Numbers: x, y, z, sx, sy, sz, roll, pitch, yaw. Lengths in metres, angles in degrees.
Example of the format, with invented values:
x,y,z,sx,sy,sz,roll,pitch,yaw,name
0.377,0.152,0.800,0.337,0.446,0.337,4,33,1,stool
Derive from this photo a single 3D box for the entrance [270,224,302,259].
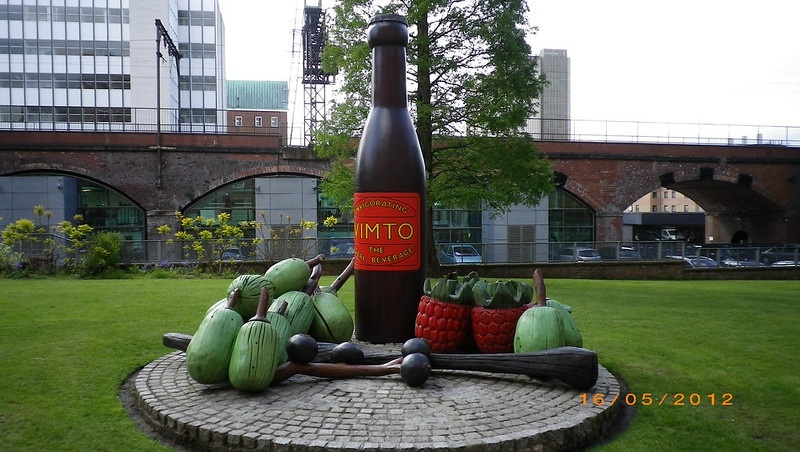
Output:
x,y,z,sx,sy,sz,roll,pitch,yaw,name
-5.555,0.729,28.597,1.487,1.604,2.981,-1,-1,-10,entrance

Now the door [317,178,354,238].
x,y,z,sx,sy,sz,roll,pitch,yaw,name
-4.159,-0.488,36.966,2.619,4.518,2.614,2,-34,-13,door
